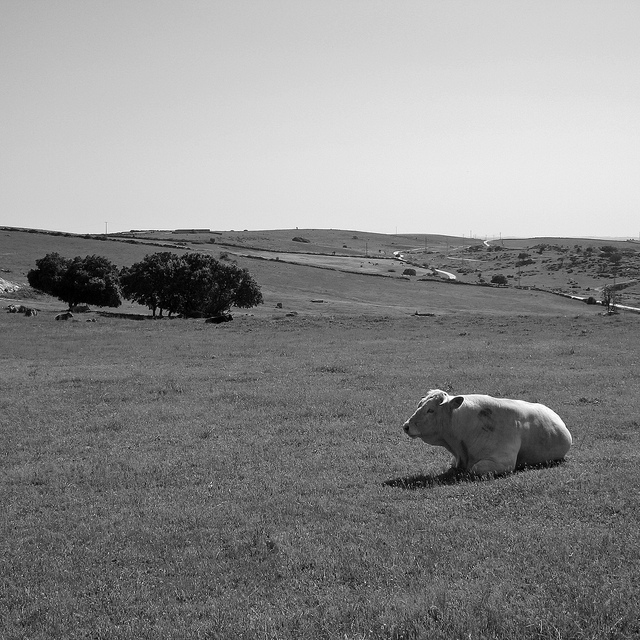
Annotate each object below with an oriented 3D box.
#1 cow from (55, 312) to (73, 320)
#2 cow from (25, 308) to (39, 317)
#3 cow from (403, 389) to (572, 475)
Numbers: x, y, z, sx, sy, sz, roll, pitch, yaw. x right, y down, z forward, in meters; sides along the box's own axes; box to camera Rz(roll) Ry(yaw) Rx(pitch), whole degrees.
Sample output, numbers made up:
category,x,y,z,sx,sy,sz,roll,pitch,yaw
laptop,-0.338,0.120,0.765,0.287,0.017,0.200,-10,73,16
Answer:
category,x,y,z,sx,sy,sz,roll,pitch,yaw
cow,-17.274,-0.209,56.696,0.879,0.554,0.285,-10,15,-43
cow,-20.214,-0.486,58.821,0.443,0.999,1.630,0,-4,-5
cow,3.488,2.307,17.285,3.094,1.866,1.595,1,-5,-12
